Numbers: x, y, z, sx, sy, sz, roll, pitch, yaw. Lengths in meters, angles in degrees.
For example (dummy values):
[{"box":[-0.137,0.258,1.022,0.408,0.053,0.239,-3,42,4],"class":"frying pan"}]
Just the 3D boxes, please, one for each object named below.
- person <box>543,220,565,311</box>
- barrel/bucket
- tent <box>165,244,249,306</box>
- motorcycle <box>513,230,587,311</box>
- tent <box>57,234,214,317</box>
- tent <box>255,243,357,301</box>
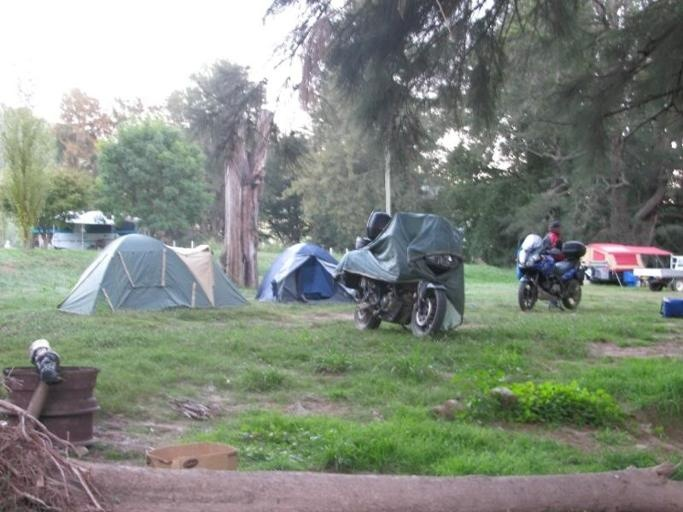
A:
[{"box":[5.408,0.143,22.076,0.439,1.753,0.570,-1,-14,11],"class":"person"},{"box":[-4.045,2.111,12.799,0.925,0.924,1.092,1,-7,-9],"class":"barrel/bucket"},{"box":[-3.520,0.527,23.067,1.563,0.900,1.612,6,4,-22],"class":"tent"},{"box":[5.210,0.440,21.856,2.248,1.826,0.760,0,-2,-34],"class":"motorcycle"},{"box":[-5.059,0.559,21.603,2.358,1.310,1.938,3,-3,-33],"class":"tent"},{"box":[-1.211,0.535,26.765,1.992,1.313,2.009,2,-2,-20],"class":"tent"}]
